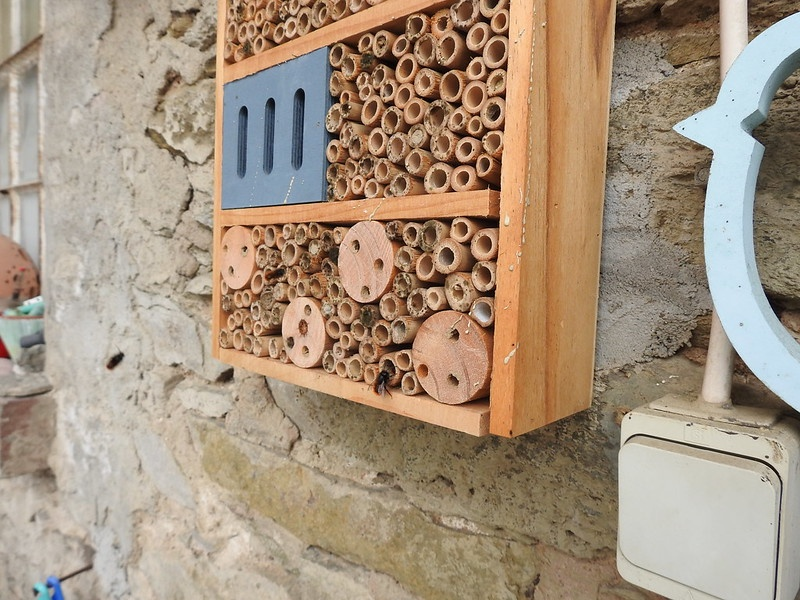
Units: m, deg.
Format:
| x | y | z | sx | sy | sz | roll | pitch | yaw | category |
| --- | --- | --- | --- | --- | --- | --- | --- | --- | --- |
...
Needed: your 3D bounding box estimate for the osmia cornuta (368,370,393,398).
| x | y | z | sx | sy | sz | roll | pitch | yaw | category |
| --- | --- | --- | --- | --- | --- | --- | --- | --- | --- |
| -0.039 | 0.194 | 1.913 | 0.037 | 0.061 | 0.016 | 10 | -1 | 20 | osmia cornuta |
